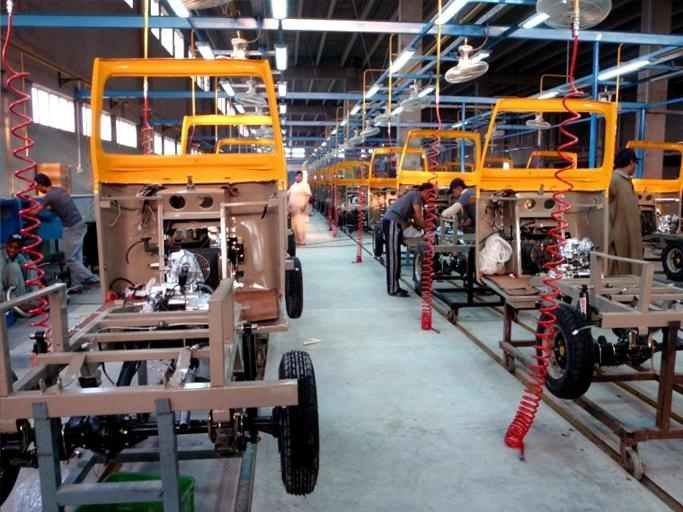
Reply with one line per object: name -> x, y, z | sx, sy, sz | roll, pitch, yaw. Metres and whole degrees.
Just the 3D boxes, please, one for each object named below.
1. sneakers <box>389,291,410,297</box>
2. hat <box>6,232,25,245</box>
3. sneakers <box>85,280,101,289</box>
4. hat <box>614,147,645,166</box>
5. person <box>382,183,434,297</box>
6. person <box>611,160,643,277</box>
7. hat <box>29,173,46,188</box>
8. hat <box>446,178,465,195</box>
sneakers -> 0.932, 0.617, 8.968 | 0.356, 0.138, 0.119 | -3, -3, 20
hat -> -4.366, -0.225, 7.461 | 0.149, 0.108, 0.205 | 14, -14, -34
sneakers -> -4.367, 0.495, 9.731 | 0.248, 0.174, 0.307 | 0, 12, -14
hat -> 3.469, -1.195, 6.720 | 0.304, 0.160, 0.204 | -17, 15, -29
person -> 1.018, -0.218, 8.659 | 0.722, 1.756, 0.707 | -2, 4, 6
person -> 3.297, -0.542, 6.494 | 0.336, 1.514, 0.949 | -1, 4, 25
hat -> -4.398, -1.118, 8.175 | 0.178, 0.196, 0.413 | -4, 3, -26
hat -> 1.735, -1.036, 8.460 | 0.218, 0.269, 0.281 | 3, 11, 6
